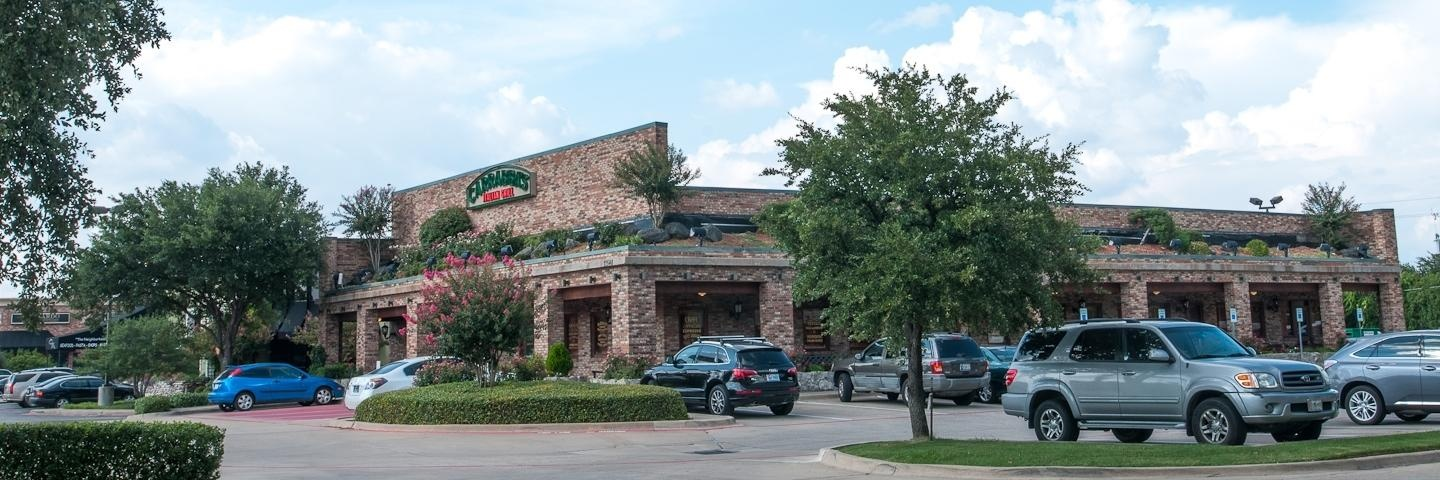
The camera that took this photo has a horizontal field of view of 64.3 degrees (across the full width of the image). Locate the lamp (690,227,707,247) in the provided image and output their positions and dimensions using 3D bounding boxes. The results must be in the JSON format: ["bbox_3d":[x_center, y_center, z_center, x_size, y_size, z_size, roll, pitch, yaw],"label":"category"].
[{"bbox_3d":[-2.174,-0.445,105.232,1.610,1.665,1.239,-3,0,32],"label":"lamp"}]

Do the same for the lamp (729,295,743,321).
[{"bbox_3d":[1.596,6.016,103.752,1.799,2.273,0.982,-1,-15,-1],"label":"lamp"}]

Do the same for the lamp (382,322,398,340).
[{"bbox_3d":[-32.271,8.713,112.109,1.784,1.691,0.467,-3,-16,8],"label":"lamp"}]
